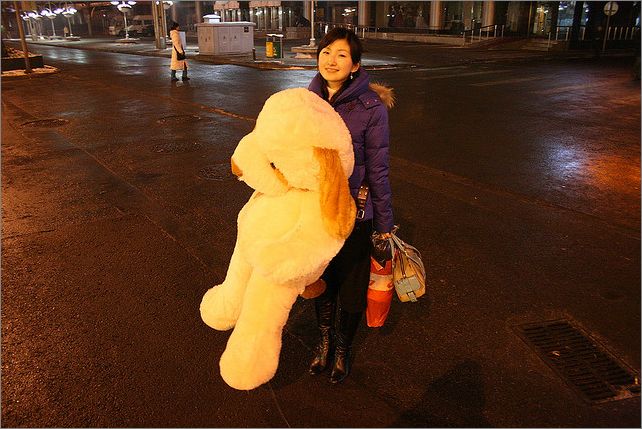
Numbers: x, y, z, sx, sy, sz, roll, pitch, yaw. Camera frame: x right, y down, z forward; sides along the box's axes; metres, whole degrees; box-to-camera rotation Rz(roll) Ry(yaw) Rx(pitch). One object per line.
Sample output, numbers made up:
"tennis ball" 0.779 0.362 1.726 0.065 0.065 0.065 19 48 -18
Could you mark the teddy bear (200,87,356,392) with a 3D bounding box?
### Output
"teddy bear" -0.247 0.182 2.577 1.015 1.840 0.426 -13 28 -21
